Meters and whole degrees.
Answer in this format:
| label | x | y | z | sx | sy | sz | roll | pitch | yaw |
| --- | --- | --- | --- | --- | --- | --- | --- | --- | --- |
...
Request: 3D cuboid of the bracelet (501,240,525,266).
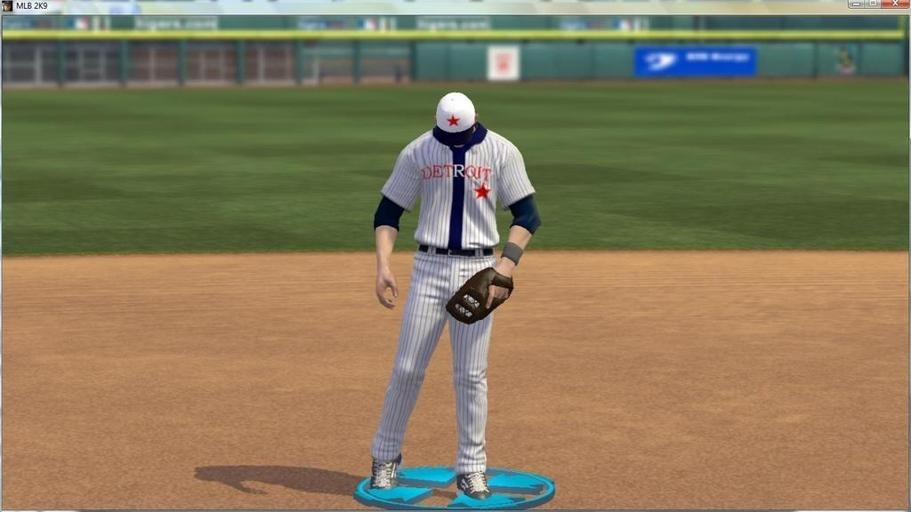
| label | x | y | z | sx | sy | sz | roll | pitch | yaw |
| --- | --- | --- | --- | --- | --- | --- | --- | --- | --- |
| bracelet | 0.778 | -0.012 | 22.794 | 0.343 | 0.233 | 0.334 | 23 | -6 | 6 |
